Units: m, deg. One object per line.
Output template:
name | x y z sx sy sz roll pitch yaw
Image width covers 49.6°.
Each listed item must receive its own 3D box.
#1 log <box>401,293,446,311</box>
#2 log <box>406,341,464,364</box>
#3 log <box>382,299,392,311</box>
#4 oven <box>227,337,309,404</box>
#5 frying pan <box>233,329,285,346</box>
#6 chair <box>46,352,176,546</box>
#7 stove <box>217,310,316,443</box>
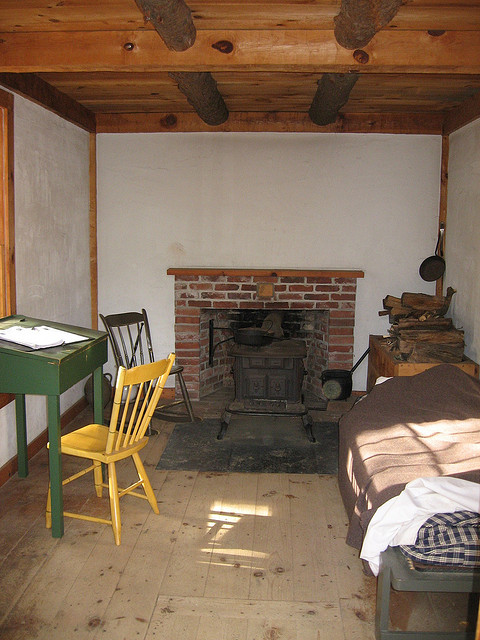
log | 1.451 -0.140 4.089 0.328 0.129 0.096 3 8 16
log | 1.383 0.237 3.648 0.290 0.176 0.079 8 -22 12
log | 1.203 -0.126 4.242 0.101 0.096 0.071 1 5 9
oven | 0.295 0.437 4.286 0.581 0.405 0.708 0 -2 7
frying pan | 0.104 0.128 3.924 0.227 0.060 0.138 10 11 18
chair | -0.609 0.574 2.634 0.626 1.050 0.608 4 7 22
stove | 0.209 0.473 3.975 0.629 0.711 0.576 2 10 -5
